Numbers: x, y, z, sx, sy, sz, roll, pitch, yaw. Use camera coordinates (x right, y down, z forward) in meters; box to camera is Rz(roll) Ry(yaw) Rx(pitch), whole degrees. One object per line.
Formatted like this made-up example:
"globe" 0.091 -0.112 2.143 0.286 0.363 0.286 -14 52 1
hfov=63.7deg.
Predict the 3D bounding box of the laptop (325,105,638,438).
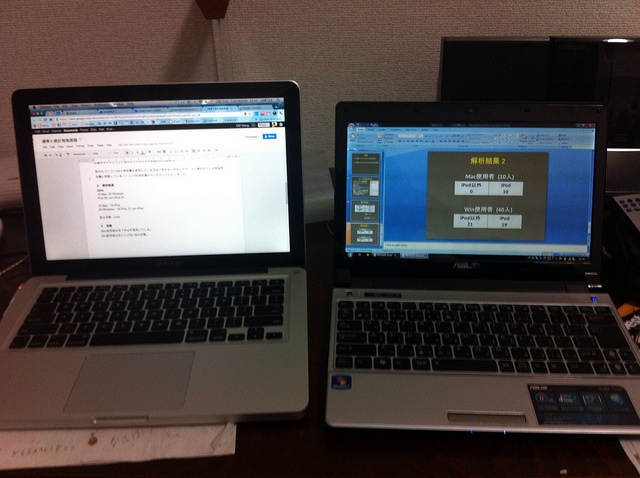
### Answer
"laptop" 0.271 0.130 1.022 0.623 0.528 0.356 -1 -42 3

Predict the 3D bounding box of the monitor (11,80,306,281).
"monitor" -0.292 -0.109 0.937 0.404 0.252 0.006 -1 12 -2

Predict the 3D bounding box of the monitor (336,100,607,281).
"monitor" 0.285 -0.098 0.937 0.355 0.232 0.015 0 2 1

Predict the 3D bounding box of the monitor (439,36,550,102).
"monitor" 0.353 -0.337 1.066 0.268 0.176 0.057 0 8 -9
